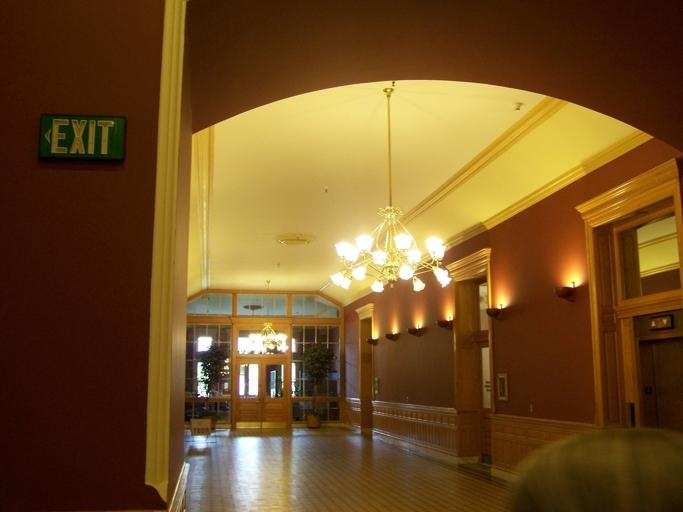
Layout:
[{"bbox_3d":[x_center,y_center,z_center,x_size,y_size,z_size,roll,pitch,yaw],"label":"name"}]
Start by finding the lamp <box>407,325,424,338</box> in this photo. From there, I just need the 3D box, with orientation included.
[{"bbox_3d":[1.656,1.679,12.515,0.234,0.249,0.807,1,-12,-6],"label":"lamp"}]

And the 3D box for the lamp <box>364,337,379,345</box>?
[{"bbox_3d":[0.919,2.425,15.863,0.254,0.200,0.278,-2,-8,39],"label":"lamp"}]

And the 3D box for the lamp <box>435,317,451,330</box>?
[{"bbox_3d":[2.001,1.290,10.769,0.199,0.112,0.208,2,-27,-12],"label":"lamp"}]

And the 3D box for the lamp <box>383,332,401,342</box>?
[{"bbox_3d":[1.273,2.005,13.936,0.209,0.219,0.527,2,-12,-12],"label":"lamp"}]

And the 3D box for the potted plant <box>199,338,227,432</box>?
[{"bbox_3d":[-4.259,4.212,18.404,0.839,2.724,1.378,-1,-11,5],"label":"potted plant"}]

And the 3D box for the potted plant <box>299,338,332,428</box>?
[{"bbox_3d":[-0.833,4.451,19.244,0.969,2.766,1.010,1,-11,-5],"label":"potted plant"}]

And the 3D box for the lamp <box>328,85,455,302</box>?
[{"bbox_3d":[0.681,-1.089,7.720,1.364,2.842,1.386,12,-17,-42],"label":"lamp"}]

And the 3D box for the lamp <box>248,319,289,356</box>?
[{"bbox_3d":[-2.456,2.869,18.860,1.118,0.981,1.166,2,-18,-9],"label":"lamp"}]

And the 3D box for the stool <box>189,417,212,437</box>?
[{"bbox_3d":[-3.807,4.636,15.109,0.676,0.490,0.728,2,-17,-10],"label":"stool"}]

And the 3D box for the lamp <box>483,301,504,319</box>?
[{"bbox_3d":[2.463,0.899,9.081,0.241,0.230,0.443,1,-12,-6],"label":"lamp"}]

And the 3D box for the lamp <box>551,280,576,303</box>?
[{"bbox_3d":[2.851,0.462,7.198,0.237,0.252,0.302,2,-12,-14],"label":"lamp"}]
